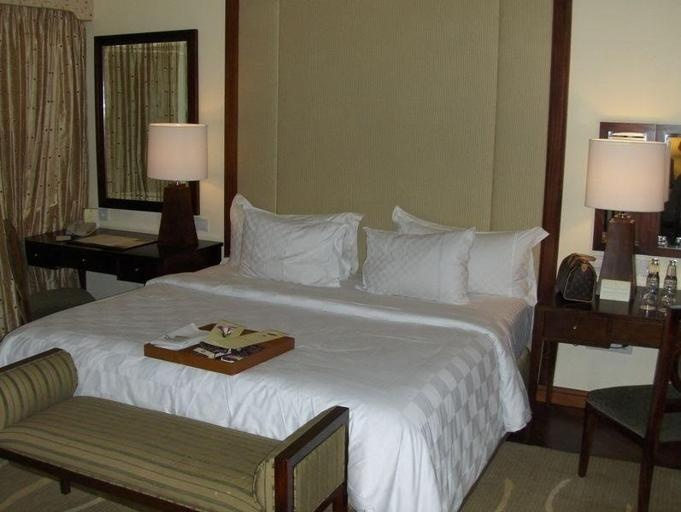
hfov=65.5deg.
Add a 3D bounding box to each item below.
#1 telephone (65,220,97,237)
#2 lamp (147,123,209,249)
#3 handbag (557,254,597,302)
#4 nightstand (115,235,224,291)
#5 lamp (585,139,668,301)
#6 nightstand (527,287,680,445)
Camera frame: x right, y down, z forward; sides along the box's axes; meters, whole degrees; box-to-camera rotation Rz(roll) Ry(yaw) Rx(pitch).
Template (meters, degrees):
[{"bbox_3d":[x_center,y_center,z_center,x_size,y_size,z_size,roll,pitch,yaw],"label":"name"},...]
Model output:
[{"bbox_3d":[-2.291,-0.241,4.744,0.168,0.089,0.206,0,3,3],"label":"telephone"},{"bbox_3d":[-1.310,-0.560,4.262,0.460,0.990,0.310,0,13,-7],"label":"lamp"},{"bbox_3d":[1.482,0.141,3.305,0.109,0.186,0.254,8,7,12],"label":"handbag"},{"bbox_3d":[-1.369,0.025,4.293,0.480,0.338,0.501,5,10,27],"label":"nightstand"},{"bbox_3d":[1.740,-0.222,3.262,0.477,0.980,0.289,6,13,19],"label":"lamp"},{"bbox_3d":[1.559,0.382,3.487,1.089,1.166,0.830,4,7,25],"label":"nightstand"}]
